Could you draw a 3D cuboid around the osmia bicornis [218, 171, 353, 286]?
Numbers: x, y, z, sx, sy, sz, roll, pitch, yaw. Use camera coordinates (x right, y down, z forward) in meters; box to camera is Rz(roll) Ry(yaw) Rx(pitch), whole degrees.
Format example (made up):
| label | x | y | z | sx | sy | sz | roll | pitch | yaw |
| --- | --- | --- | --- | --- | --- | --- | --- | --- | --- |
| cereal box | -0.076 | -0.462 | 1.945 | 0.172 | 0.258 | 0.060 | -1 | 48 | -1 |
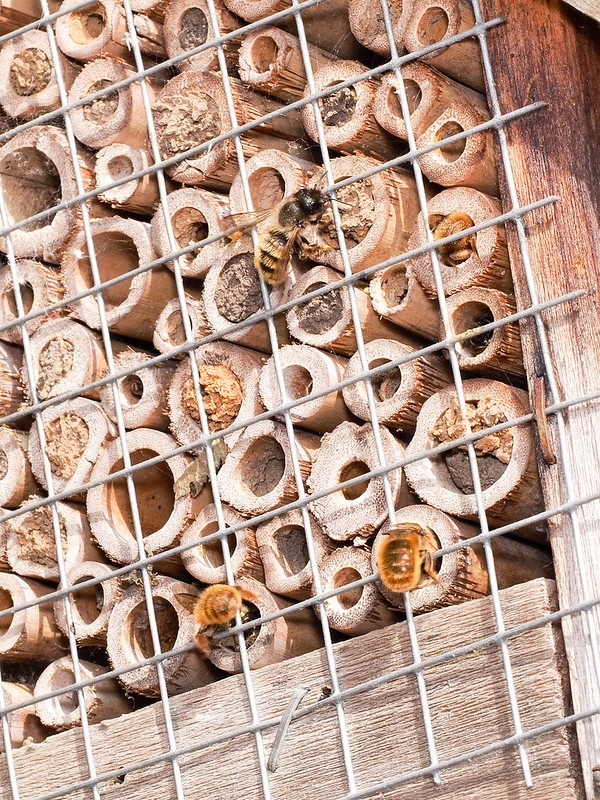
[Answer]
| label | x | y | z | sx | sy | sz | roll | pitch | yaw |
| --- | --- | --- | --- | --- | --- | --- | --- | --- | --- |
| osmia bicornis | -0.016 | -0.298 | 3.330 | 0.218 | 0.075 | 0.166 | -41 | 61 | 6 |
